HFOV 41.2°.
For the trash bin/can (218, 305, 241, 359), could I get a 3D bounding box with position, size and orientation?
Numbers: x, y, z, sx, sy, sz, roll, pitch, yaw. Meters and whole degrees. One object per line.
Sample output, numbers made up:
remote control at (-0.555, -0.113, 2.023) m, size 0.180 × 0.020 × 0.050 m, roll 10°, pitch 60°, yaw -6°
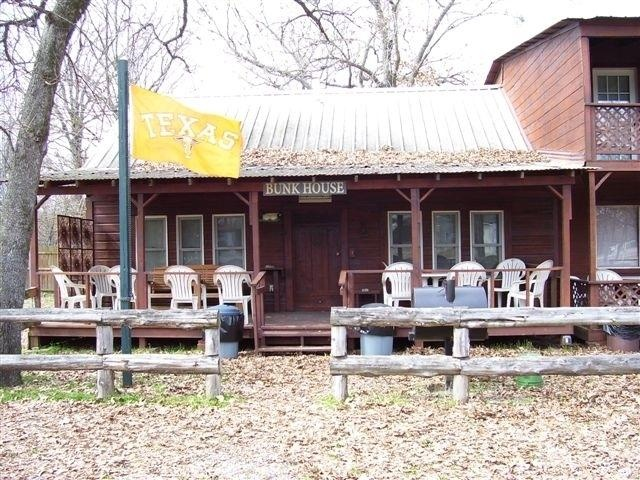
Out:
trash bin/can at (-1.799, 1.810, 16.556) m, size 0.447 × 1.032 × 0.797 m, roll -3°, pitch -5°, yaw 32°
